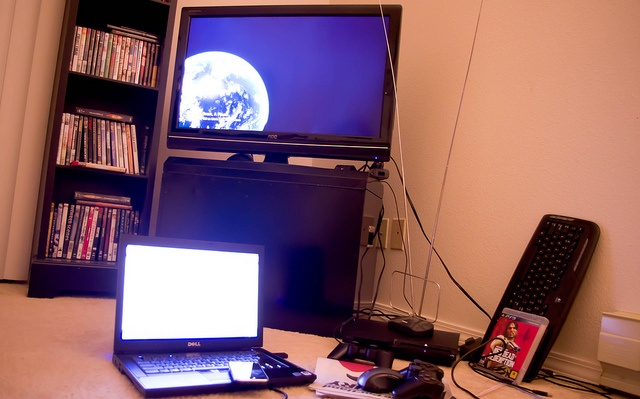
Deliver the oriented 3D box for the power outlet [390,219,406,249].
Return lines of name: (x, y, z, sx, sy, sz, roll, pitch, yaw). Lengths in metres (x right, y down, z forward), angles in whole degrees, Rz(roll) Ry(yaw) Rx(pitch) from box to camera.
power outlet: (0.442, 0.194, 2.685, 0.029, 0.173, 0.117, 0, 10, -36)

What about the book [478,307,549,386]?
book: (0.824, 0.615, 2.031, 0.150, 0.264, 0.194, -2, 11, -44)

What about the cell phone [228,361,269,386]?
cell phone: (-0.263, 0.622, 1.781, 0.098, 0.091, 0.095, 8, 10, -27)

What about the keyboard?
keyboard: (0.993, 0.390, 2.112, 0.378, 0.843, 0.119, 28, 2, 35)

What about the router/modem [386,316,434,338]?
router/modem: (0.432, 0.585, 2.208, 0.189, 0.048, 0.146, 3, 8, -14)

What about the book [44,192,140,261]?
book: (-1.228, 0.153, 2.533, 0.361, 0.286, 0.115, 9, -8, -19)
